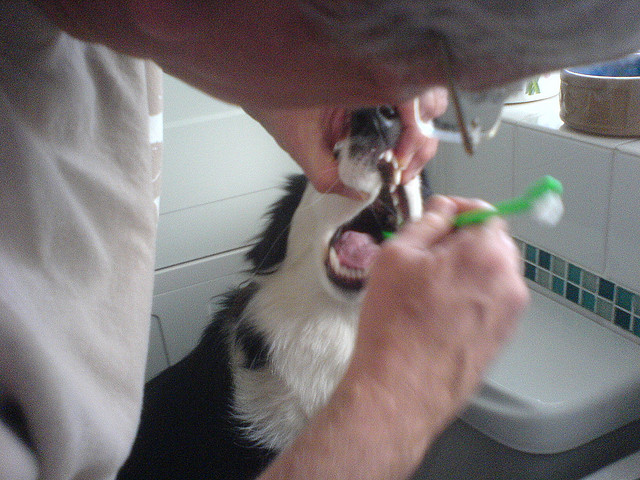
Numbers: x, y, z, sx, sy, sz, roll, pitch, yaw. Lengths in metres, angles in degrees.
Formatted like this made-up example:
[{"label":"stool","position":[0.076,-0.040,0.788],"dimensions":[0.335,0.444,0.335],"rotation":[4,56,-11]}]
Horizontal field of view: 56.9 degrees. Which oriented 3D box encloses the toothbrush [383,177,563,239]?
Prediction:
[{"label":"toothbrush","position":[0.189,-0.025,0.771],"dimensions":[0.252,0.055,0.086],"rotation":[-10,-11,18]}]
